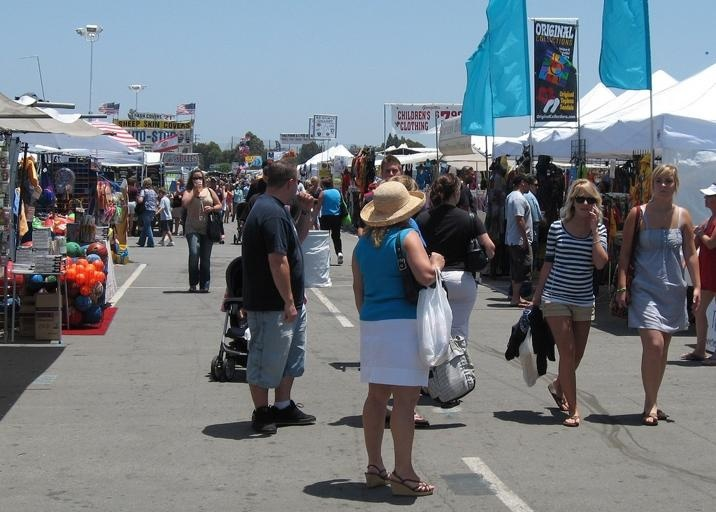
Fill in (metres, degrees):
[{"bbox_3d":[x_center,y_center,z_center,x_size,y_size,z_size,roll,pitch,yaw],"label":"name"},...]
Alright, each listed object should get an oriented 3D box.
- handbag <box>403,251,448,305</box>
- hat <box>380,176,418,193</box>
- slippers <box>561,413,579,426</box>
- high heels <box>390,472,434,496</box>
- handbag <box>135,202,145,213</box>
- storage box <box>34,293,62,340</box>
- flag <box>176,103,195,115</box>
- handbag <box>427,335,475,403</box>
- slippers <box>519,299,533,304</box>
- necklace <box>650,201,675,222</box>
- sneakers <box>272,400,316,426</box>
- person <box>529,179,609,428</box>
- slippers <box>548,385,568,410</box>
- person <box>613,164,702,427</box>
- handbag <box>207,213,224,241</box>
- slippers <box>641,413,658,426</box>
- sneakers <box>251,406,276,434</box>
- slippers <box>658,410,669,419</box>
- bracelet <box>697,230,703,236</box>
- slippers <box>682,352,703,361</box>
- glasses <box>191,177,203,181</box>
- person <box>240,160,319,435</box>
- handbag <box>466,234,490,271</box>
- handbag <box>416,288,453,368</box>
[{"bbox_3d":[0.520,0.184,6.491,0.131,0.459,0.328,-13,13,7],"label":"handbag"},{"bbox_3d":[0.474,-0.749,8.310,0.247,0.165,0.340,0,5,5],"label":"hat"},{"bbox_3d":[2.119,1.623,8.098,0.166,0.119,0.167,1,9,10],"label":"slippers"},{"bbox_3d":[0.424,1.823,6.552,0.311,0.168,0.164,0,0,-2],"label":"high heels"},{"bbox_3d":[-6.779,-1.483,25.454,0.275,0.587,0.375,2,3,-18],"label":"handbag"},{"bbox_3d":[-4.290,0.893,11.280,0.329,0.644,0.316,4,-24,-29],"label":"storage box"},{"bbox_3d":[-14.744,-12.689,70.537,1.260,0.965,9.779,-3,9,-12],"label":"flag"},{"bbox_3d":[0.903,1.038,7.341,0.540,0.596,0.416,-8,-2,27],"label":"handbag"},{"bbox_3d":[3.011,0.858,14.760,0.120,0.083,0.201,5,-6,-34],"label":"slippers"},{"bbox_3d":[3.080,-0.437,8.312,0.221,0.200,0.156,-1,2,4],"label":"necklace"},{"bbox_3d":[-0.647,1.584,8.150,0.513,0.272,0.183,1,-2,-8],"label":"sneakers"},{"bbox_3d":[2.101,0.459,8.147,0.681,2.396,0.533,1,8,15],"label":"person"},{"bbox_3d":[2.090,1.505,8.535,0.108,0.325,0.075,4,-20,-45],"label":"slippers"},{"bbox_3d":[3.026,0.245,8.259,0.797,2.272,0.585,1,8,14],"label":"person"},{"bbox_3d":[-2.641,-0.541,15.185,0.216,0.644,0.722,-1,8,-2],"label":"handbag"},{"bbox_3d":[2.906,1.626,8.121,0.147,0.111,0.173,1,9,13],"label":"slippers"},{"bbox_3d":[-0.899,1.573,7.844,0.229,0.254,0.209,-2,8,-9],"label":"sneakers"},{"bbox_3d":[3.084,1.621,8.267,0.084,0.024,0.086,-3,16,-32],"label":"slippers"},{"bbox_3d":[4.483,-0.298,10.717,0.053,0.057,0.057,0,3,-15],"label":"bracelet"},{"bbox_3d":[4.357,1.317,10.612,0.190,0.072,0.103,4,4,29],"label":"slippers"},{"bbox_3d":[-2.965,-1.422,15.133,0.186,0.096,0.277,-3,9,-16],"label":"glasses"},{"bbox_3d":[-0.745,0.372,8.016,0.645,2.602,0.920,2,8,19],"label":"person"},{"bbox_3d":[1.215,0.009,8.245,0.212,0.358,0.229,4,9,33],"label":"handbag"},{"bbox_3d":[0.609,0.566,6.454,0.303,0.658,0.161,-5,8,-29],"label":"handbag"}]
